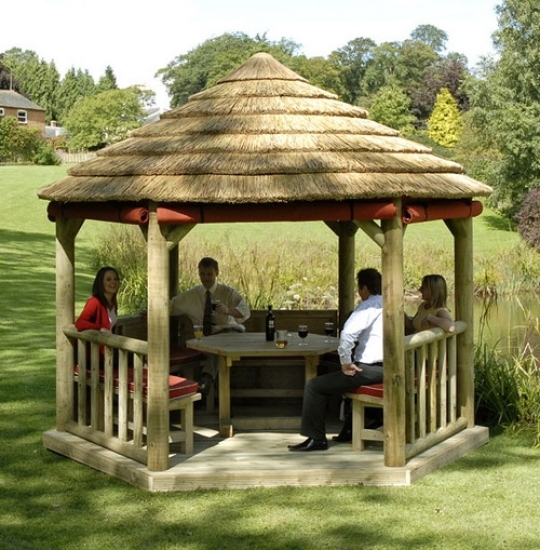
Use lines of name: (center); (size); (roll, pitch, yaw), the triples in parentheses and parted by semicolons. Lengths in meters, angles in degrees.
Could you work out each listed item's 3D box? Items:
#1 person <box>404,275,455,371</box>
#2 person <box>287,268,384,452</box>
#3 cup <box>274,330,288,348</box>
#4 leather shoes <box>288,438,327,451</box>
person: (1.572, 0.316, 6.772); (0.437, 0.657, 0.980); (1, 5, 10)
person: (0.618, 0.785, 6.276); (0.789, 1.652, 0.484); (0, 5, 4)
cup: (0.121, 0.661, 7.012); (0.112, 0.156, 0.163); (0, -7, 4)
leather shoes: (0.350, 1.550, 6.264); (0.359, 0.142, 0.129); (2, -6, -7)
